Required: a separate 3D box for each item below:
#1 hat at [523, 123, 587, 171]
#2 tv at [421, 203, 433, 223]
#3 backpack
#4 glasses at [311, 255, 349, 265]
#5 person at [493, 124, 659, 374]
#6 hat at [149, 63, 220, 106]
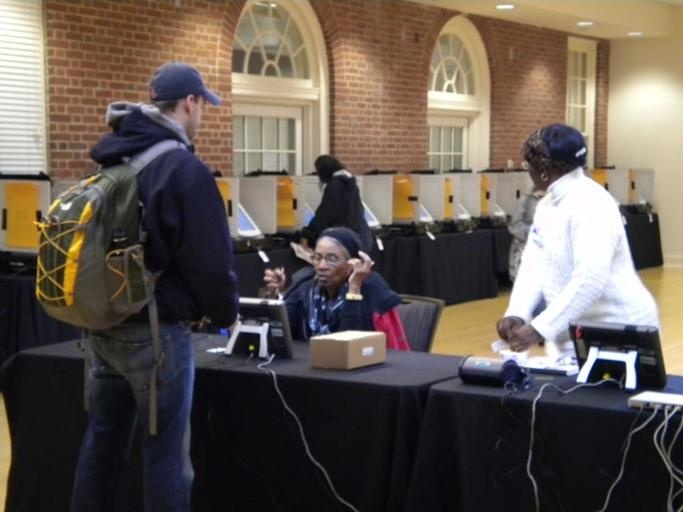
[{"bbox_3d":[0.808,-0.419,2.171,0.190,0.176,0.162,-5,12,10],"label":"hat"},{"bbox_3d":[1.037,-0.495,6.874,0.047,0.212,0.196,-27,1,36],"label":"tv"},{"bbox_3d":[-0.715,-0.021,1.654,0.442,0.481,0.313,-1,3,-42],"label":"backpack"},{"bbox_3d":[-0.058,0.011,2.673,0.188,0.052,0.091,2,7,15],"label":"glasses"},{"bbox_3d":[0.853,-0.055,2.061,0.531,0.847,0.456,4,6,31],"label":"person"},{"bbox_3d":[-0.520,-0.549,1.896,0.194,0.128,0.134,-7,14,-30],"label":"hat"}]
